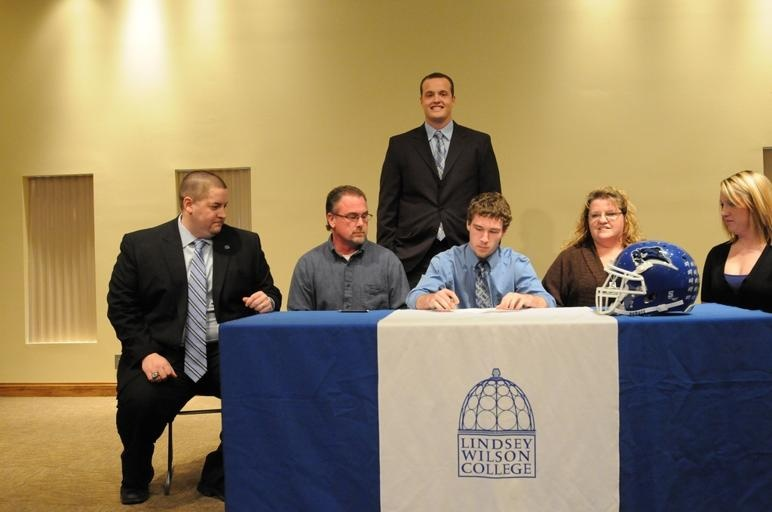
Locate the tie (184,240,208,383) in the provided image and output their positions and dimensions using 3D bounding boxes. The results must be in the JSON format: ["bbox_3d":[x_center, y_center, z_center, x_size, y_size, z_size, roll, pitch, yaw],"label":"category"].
[{"bbox_3d":[-1.393,0.396,5.374,0.165,1.016,0.205,-1,2,-9],"label":"tie"}]

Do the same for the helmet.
[{"bbox_3d":[1.627,0.103,4.639,0.517,0.428,0.439,-4,4,9],"label":"helmet"}]

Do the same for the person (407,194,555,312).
[{"bbox_3d":[0.660,-0.036,5.194,1.013,0.835,0.626,-1,2,1],"label":"person"}]

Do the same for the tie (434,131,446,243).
[{"bbox_3d":[0.426,-0.567,5.978,0.081,0.881,0.092,0,-5,-2],"label":"tie"}]

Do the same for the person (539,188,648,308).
[{"bbox_3d":[1.685,-0.051,6.053,0.644,1.011,0.846,7,-8,21],"label":"person"}]

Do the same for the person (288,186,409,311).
[{"bbox_3d":[-0.299,-0.059,5.577,0.908,0.938,0.258,-1,2,7],"label":"person"}]

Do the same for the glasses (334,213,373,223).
[{"bbox_3d":[-0.260,-0.291,5.546,0.287,0.085,0.137,-2,1,-13],"label":"glasses"}]
